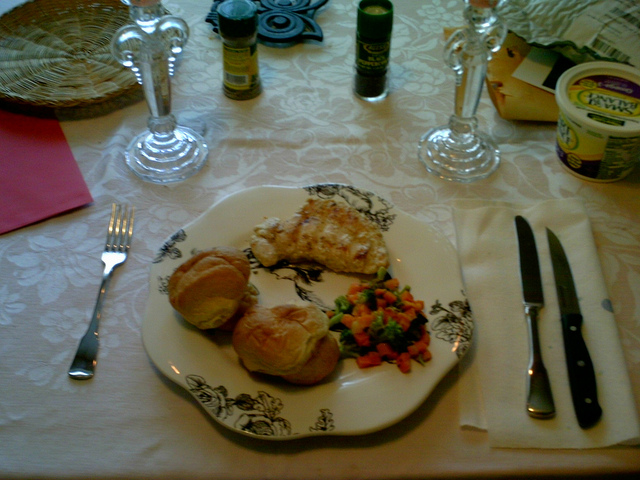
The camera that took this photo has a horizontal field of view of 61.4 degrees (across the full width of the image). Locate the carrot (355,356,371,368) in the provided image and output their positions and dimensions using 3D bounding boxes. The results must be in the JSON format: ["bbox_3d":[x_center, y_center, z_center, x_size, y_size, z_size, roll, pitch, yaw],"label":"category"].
[{"bbox_3d":[0.072,0.200,0.885,0.021,0.007,0.020,-4,56,-5],"label":"carrot"}]

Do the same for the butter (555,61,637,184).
[{"bbox_3d":[0.587,-0.249,1.134,0.196,0.172,0.175,-14,50,6],"label":"butter"}]

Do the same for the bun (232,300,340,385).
[{"bbox_3d":[-0.053,0.163,0.869,0.173,0.076,0.118,8,56,3],"label":"bun"}]

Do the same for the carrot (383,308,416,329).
[{"bbox_3d":[0.136,0.131,0.909,0.036,0.010,0.033,10,44,18],"label":"carrot"}]

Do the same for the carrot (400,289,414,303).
[{"bbox_3d":[0.151,0.098,0.939,0.021,0.008,0.021,-38,74,-12],"label":"carrot"}]

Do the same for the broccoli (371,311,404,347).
[{"bbox_3d":[0.111,0.150,0.885,0.049,0.028,0.045,1,53,9],"label":"broccoli"}]

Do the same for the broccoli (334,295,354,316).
[{"bbox_3d":[0.041,0.115,0.943,0.019,0.029,0.027,36,74,-12],"label":"broccoli"}]

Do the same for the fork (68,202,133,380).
[{"bbox_3d":[-0.394,0.106,1.009,0.044,0.035,0.282,8,56,0],"label":"fork"}]

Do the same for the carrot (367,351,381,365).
[{"bbox_3d":[0.089,0.195,0.885,0.021,0.006,0.018,19,61,12],"label":"carrot"}]

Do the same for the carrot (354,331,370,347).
[{"bbox_3d":[0.072,0.165,0.900,0.019,0.008,0.023,-12,31,-5],"label":"carrot"}]

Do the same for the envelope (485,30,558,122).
[{"bbox_3d":[0.485,-0.385,1.325,0.246,0.091,0.213,2,78,1],"label":"envelope"}]

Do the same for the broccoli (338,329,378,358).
[{"bbox_3d":[0.069,0.179,0.904,0.045,0.020,0.053,-18,44,-28],"label":"broccoli"}]

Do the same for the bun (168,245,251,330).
[{"bbox_3d":[-0.181,0.074,0.912,0.145,0.061,0.126,-36,64,-23],"label":"bun"}]

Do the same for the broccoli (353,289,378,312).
[{"bbox_3d":[0.075,0.104,0.932,0.037,0.018,0.034,16,66,16],"label":"broccoli"}]

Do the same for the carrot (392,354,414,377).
[{"bbox_3d":[0.139,0.202,0.873,0.028,0.012,0.037,-18,58,-14],"label":"carrot"}]

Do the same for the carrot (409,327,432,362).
[{"bbox_3d":[0.162,0.162,0.866,0.038,0.013,0.036,-32,61,-10],"label":"carrot"}]

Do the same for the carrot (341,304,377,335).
[{"bbox_3d":[0.067,0.135,0.912,0.049,0.015,0.048,11,42,23],"label":"carrot"}]

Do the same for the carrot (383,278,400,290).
[{"bbox_3d":[0.129,0.079,0.961,0.020,0.008,0.019,8,38,18],"label":"carrot"}]

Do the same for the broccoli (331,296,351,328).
[{"bbox_3d":[0.048,0.127,0.964,0.045,0.023,0.045,12,59,30],"label":"broccoli"}]
